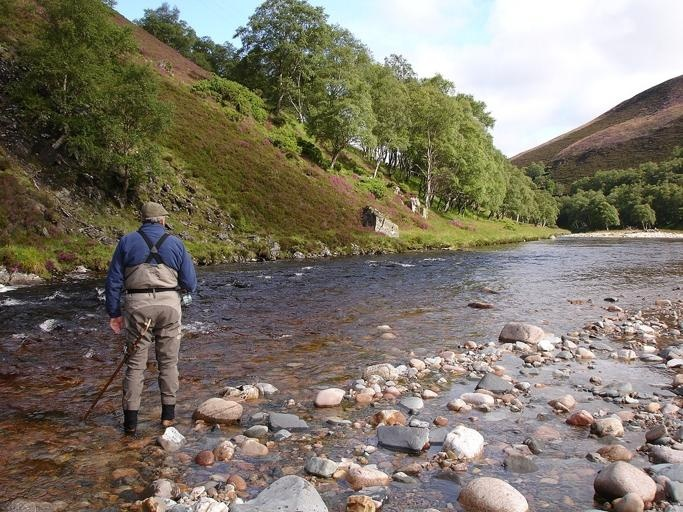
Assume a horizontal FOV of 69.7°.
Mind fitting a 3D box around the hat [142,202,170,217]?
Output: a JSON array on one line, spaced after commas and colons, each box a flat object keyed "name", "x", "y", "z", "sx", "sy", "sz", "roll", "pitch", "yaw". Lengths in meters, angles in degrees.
[{"name": "hat", "x": -4.194, "y": -1.071, "z": 11.106, "sx": 0.407, "sy": 0.227, "sz": 0.524, "roll": 9, "pitch": 15, "yaw": 23}]

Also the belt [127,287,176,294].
[{"name": "belt", "x": -4.126, "y": 0.743, "z": 10.759, "sx": 0.994, "sy": 0.161, "sz": 0.205, "roll": -4, "pitch": 12, "yaw": -20}]
